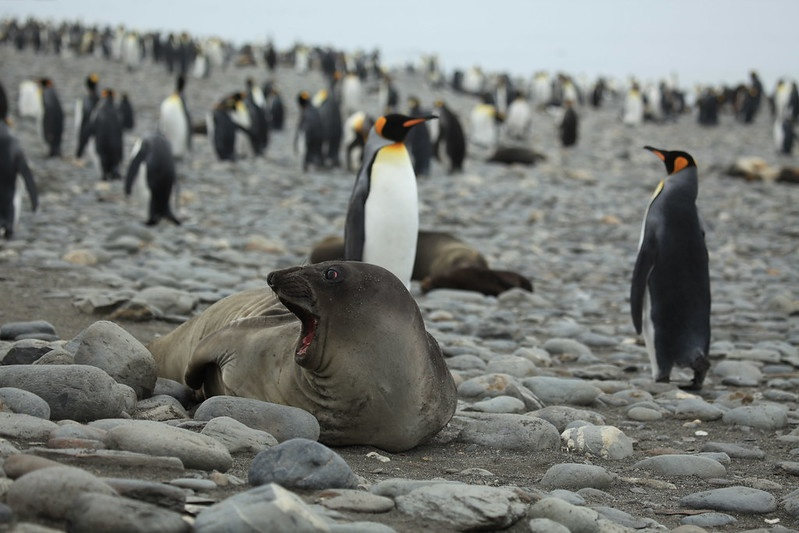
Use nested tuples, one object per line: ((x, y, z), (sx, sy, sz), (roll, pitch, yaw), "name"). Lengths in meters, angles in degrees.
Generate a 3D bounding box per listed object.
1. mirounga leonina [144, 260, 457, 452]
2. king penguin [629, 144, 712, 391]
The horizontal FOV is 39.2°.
((-0.766, 0.524, 8.081), (2.135, 0.771, 1.279), (10, 16, 43), "mirounga leonina")
((2.295, 0.002, 9.285), (0.699, 1.975, 0.341), (6, 4, 19), "king penguin")
